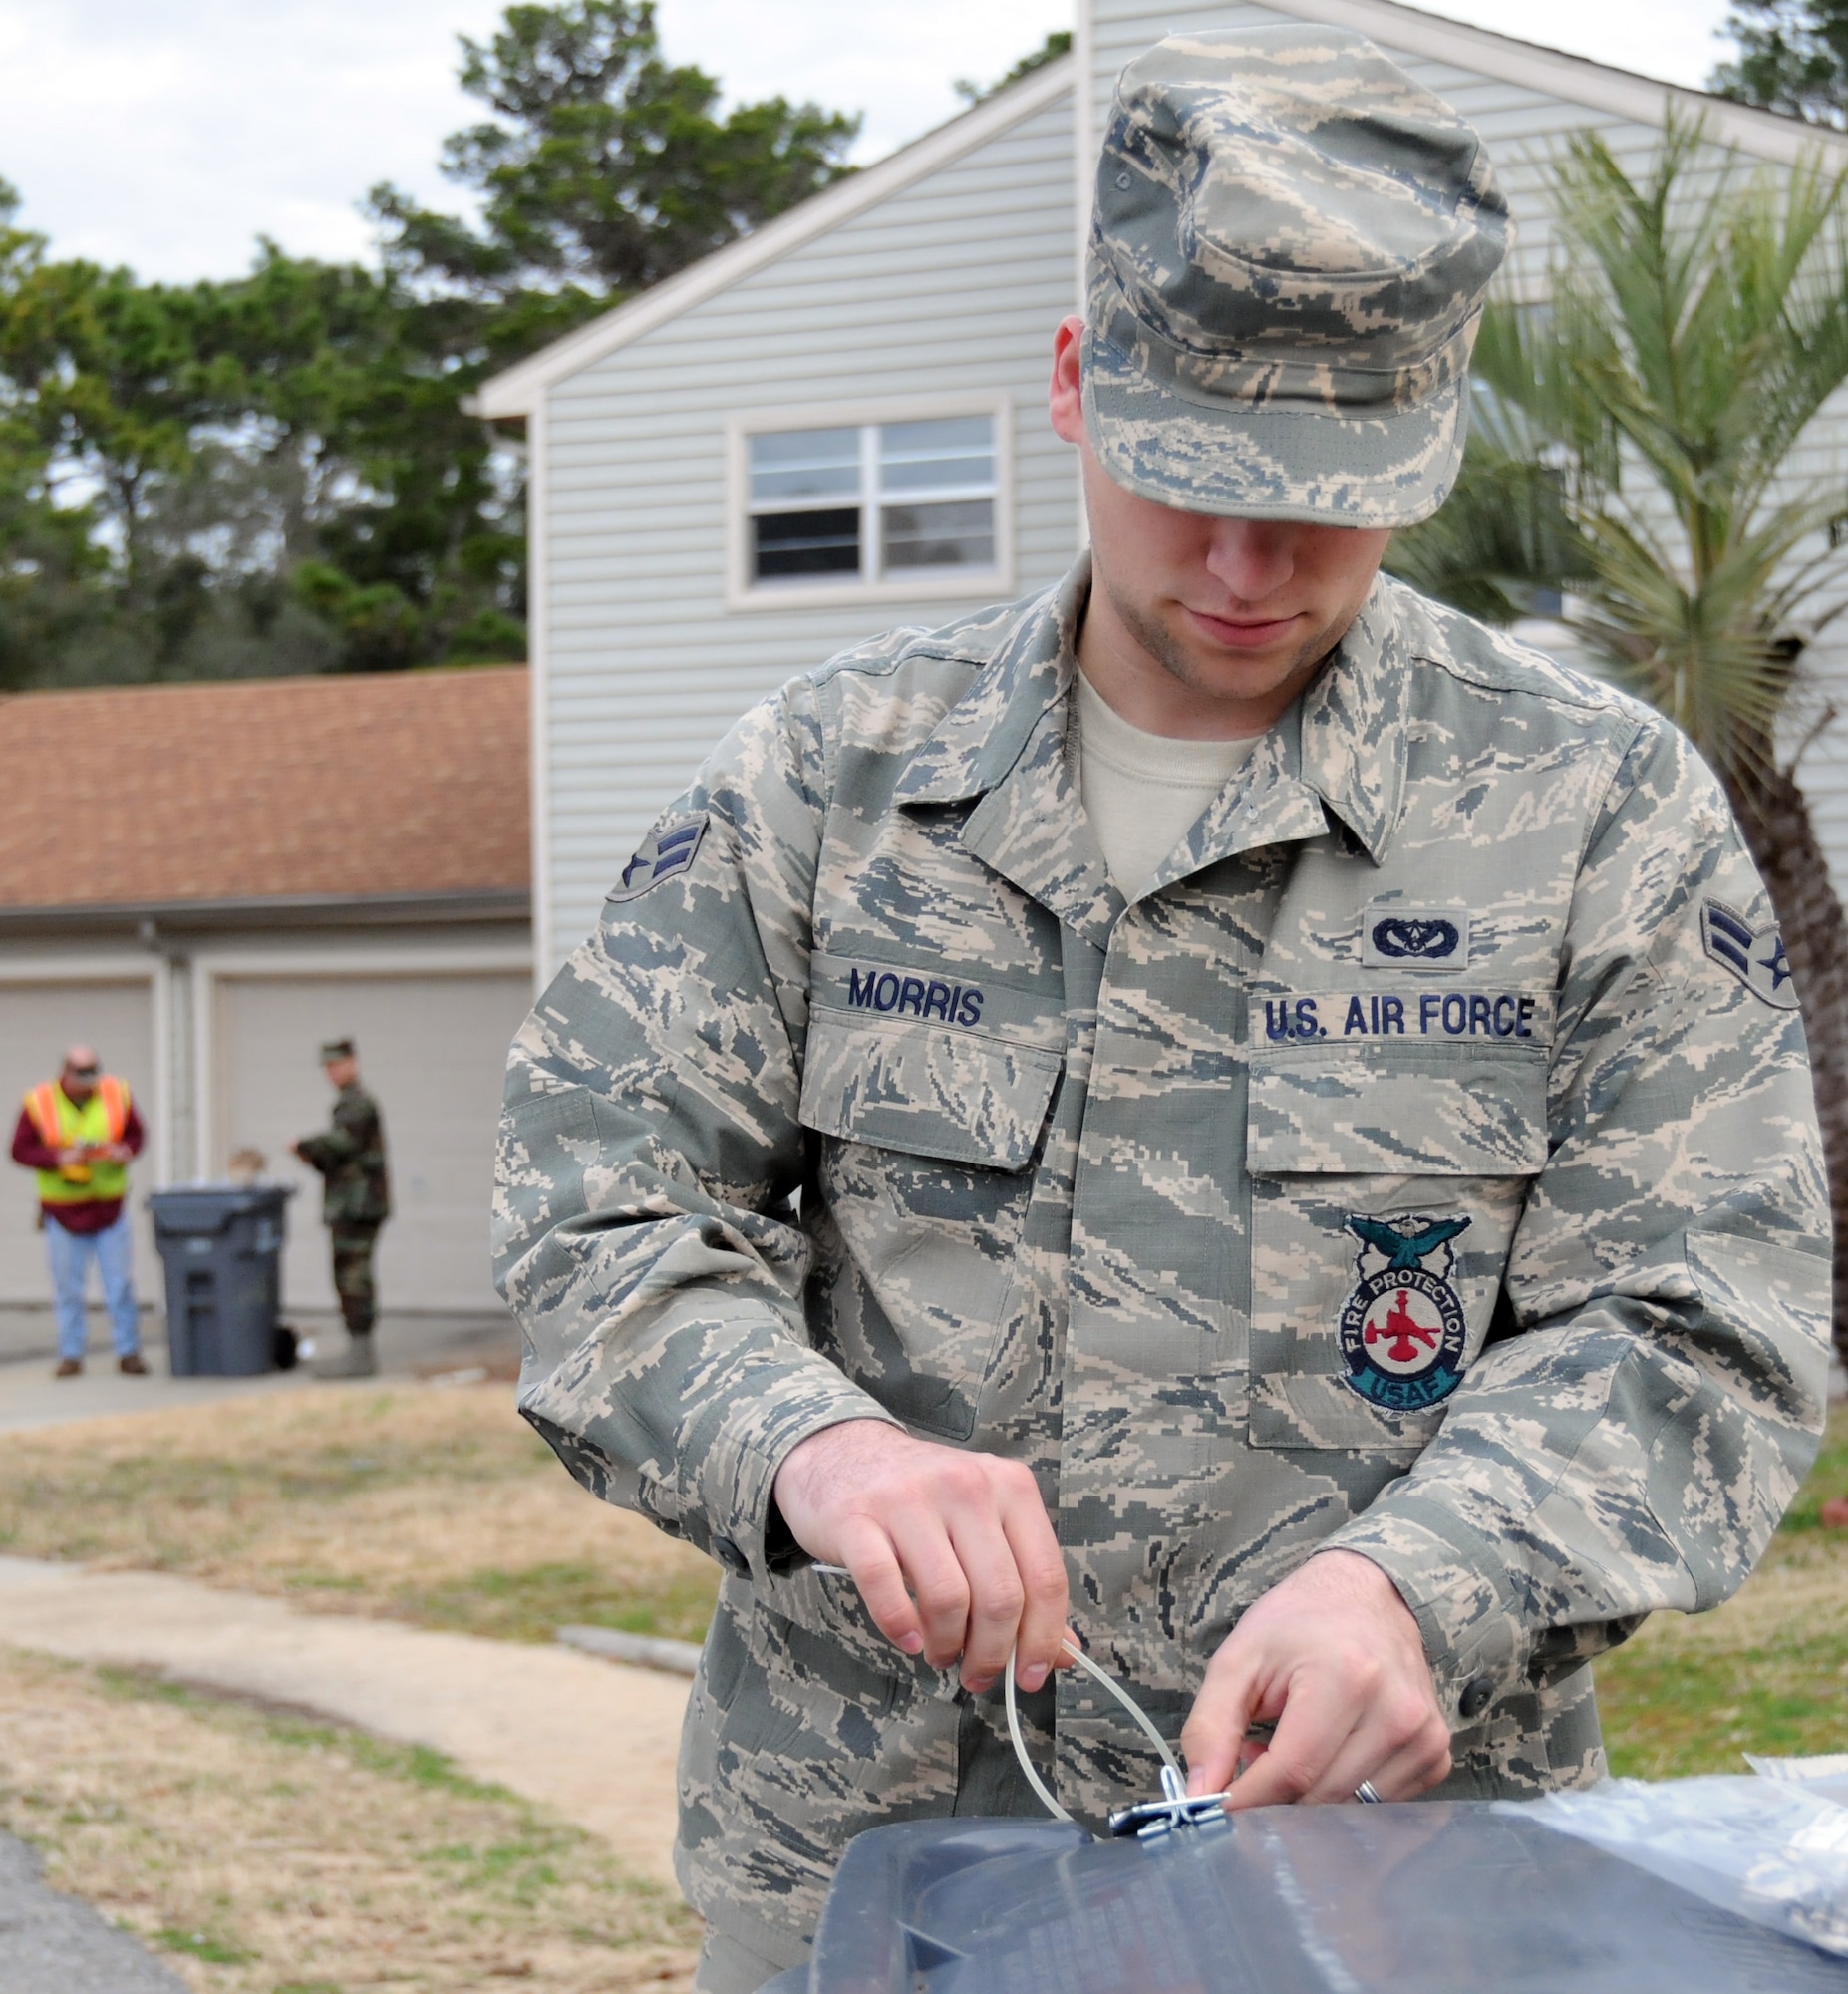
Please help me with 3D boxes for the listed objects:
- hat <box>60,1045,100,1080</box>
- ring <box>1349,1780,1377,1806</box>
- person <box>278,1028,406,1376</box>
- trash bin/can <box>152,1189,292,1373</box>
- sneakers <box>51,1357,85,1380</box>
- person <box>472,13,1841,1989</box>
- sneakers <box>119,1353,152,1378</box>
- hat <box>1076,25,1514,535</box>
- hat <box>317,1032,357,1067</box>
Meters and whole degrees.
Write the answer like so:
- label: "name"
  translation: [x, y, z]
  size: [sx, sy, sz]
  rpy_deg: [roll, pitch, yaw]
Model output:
- label: "hat"
  translation: [-2.732, 0.215, 10.707]
  size: [0.120, 0.074, 0.167]
  rpy_deg: [0, 7, -36]
- label: "ring"
  translation: [0.364, 0.653, 2.722]
  size: [0.025, 0.015, 0.030]
  rpy_deg: [-2, -24, 7]
- label: "person"
  translation: [-2.032, 0.707, 11.578]
  size: [0.361, 1.054, 0.814]
  rpy_deg: [8, 4, -10]
- label: "trash bin/can"
  translation: [-2.390, 0.972, 11.171]
  size: [0.489, 0.605, 0.725]
  rpy_deg: [6, 4, -13]
- label: "sneakers"
  translation: [-2.573, 1.118, 9.949]
  size: [0.050, 0.050, 0.130]
  rpy_deg: [1, -11, -9]
- label: "person"
  translation: [0.223, 0.064, 3.010]
  size: [0.878, 1.837, 0.928]
  rpy_deg: [4, 6, -41]
- label: "sneakers"
  translation: [-2.473, 1.153, 10.363]
  size: [0.073, 0.072, 0.200]
  rpy_deg: [4, -9, -31]
- label: "hat"
  translation: [0.331, -0.620, 2.865]
  size: [0.365, 0.469, 0.152]
  rpy_deg: [2, -33, -4]
- label: "hat"
  translation: [-2.099, 0.182, 11.698]
  size: [0.169, 0.095, 0.150]
  rpy_deg: [1, -5, 11]
